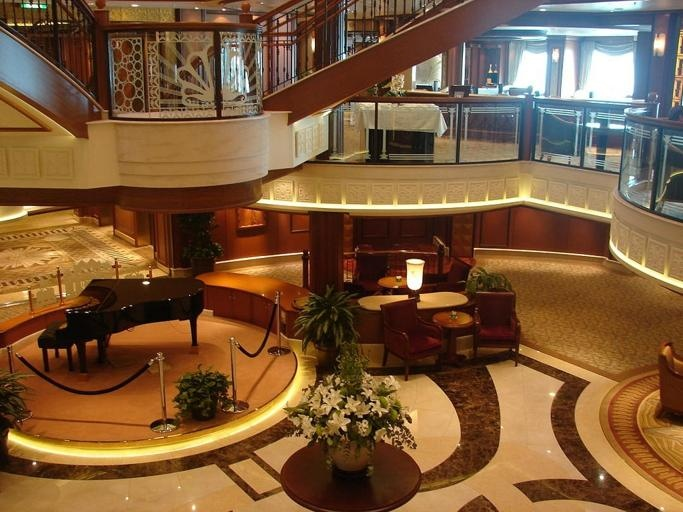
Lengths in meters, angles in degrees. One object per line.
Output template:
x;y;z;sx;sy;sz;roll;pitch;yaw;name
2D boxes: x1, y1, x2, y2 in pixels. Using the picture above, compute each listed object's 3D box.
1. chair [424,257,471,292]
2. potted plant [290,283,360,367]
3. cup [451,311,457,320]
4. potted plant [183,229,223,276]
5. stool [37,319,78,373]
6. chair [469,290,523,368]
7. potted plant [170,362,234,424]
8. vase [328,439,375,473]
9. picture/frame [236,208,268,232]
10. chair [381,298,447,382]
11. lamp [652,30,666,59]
2.508;0.519;11.576;0.954;1.130;0.847;3;25;-1;chair
-0.261;1.277;9.296;1.395;1.623;1.388;-1;15;-4;potted plant
2.102;1.117;9.427;0.123;0.110;0.121;-1;4;0;cup
-3.634;-0.129;13.054;1.178;1.256;1.102;-4;20;-12;potted plant
-4.804;1.567;8.516;0.495;0.558;0.861;-5;19;-20;stool
2.902;1.307;9.392;0.988;1.077;0.982;5;11;27;chair
-2.076;1.982;7.423;0.783;0.760;0.853;8;12;39;potted plant
0.085;1.869;4.688;0.419;0.294;0.415;1;9;3;vase
-2.615;-1.059;14.533;0.884;0.671;0.141;-9;18;-30;picture/frame
1.262;1.452;9.079;1.132;1.094;1.100;3;10;26;chair
8.175;-5.463;12.881;0.276;0.567;0.113;7;18;28;lamp
